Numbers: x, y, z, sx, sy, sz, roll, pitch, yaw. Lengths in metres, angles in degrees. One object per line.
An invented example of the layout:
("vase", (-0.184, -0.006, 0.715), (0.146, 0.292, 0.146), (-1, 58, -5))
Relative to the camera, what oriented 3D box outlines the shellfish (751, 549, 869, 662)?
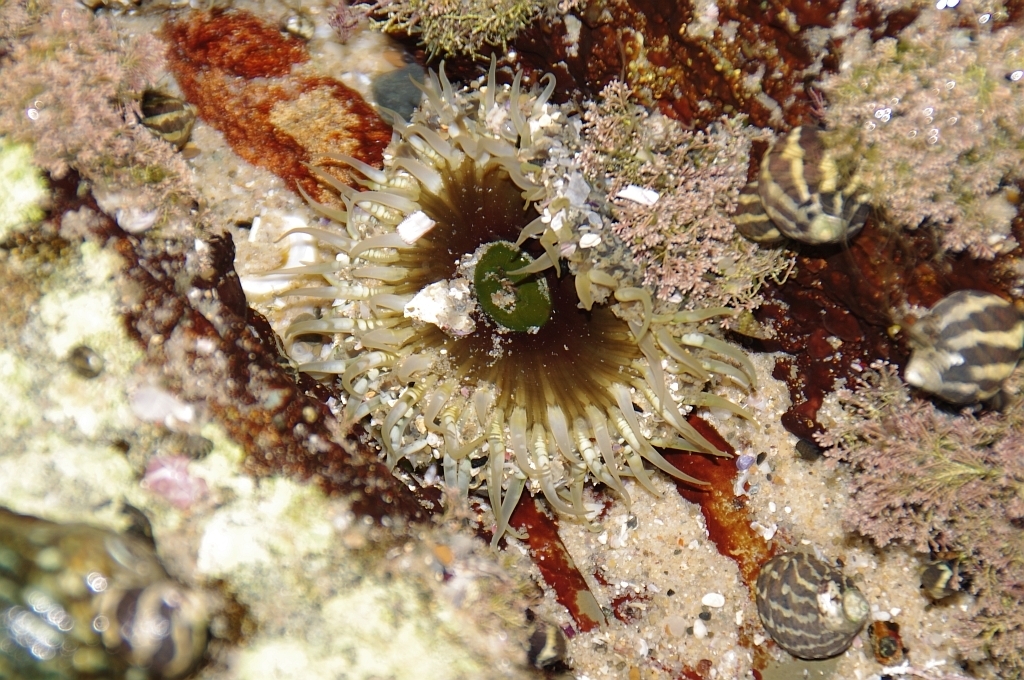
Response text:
("shellfish", (1.639, 1.453, 5.830), (0.483, 0.438, 0.615), (-25, 67, -11))
